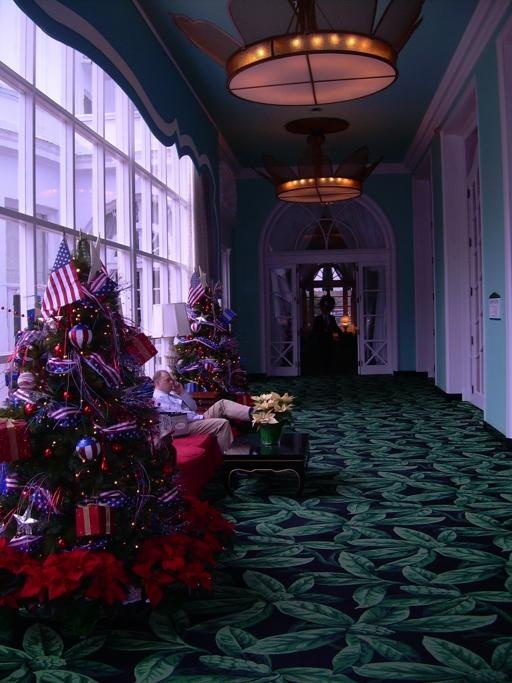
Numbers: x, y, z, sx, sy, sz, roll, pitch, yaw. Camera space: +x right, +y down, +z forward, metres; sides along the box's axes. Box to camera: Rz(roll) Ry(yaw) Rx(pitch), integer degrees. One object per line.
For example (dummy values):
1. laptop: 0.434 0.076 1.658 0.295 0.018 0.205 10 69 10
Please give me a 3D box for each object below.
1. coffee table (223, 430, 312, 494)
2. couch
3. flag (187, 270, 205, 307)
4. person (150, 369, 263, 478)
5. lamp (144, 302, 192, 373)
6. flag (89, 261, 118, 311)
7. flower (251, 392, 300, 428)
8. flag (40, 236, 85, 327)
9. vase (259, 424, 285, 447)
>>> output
1. coffee table: 0.082 0.964 4.133 0.639 0.355 0.722 -2 -2 3
2. couch: -0.488 0.706 4.416 0.829 0.457 1.128 -10 30 4
3. flag: -0.715 -0.644 6.308 0.216 0.479 0.292 -1 -3 -3
4. person: -0.421 0.606 4.646 1.002 0.539 0.387 3 19 0
5. lamp: -0.808 -0.043 5.252 0.407 0.694 0.392 3 15 21
6. flag: -0.623 -0.227 2.215 0.062 0.150 0.148 -12 26 35
7. flower: 0.116 0.537 4.184 0.302 0.281 0.292 -1 -2 -4
8. flag: -0.790 -0.262 2.164 0.149 0.367 0.238 0 -3 -26
9. vase: 0.101 0.738 4.215 0.184 0.170 0.186 -3 -4 19
